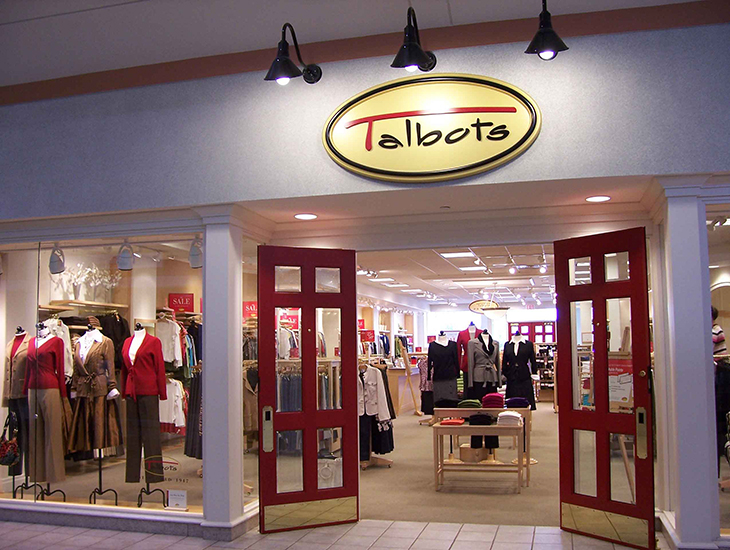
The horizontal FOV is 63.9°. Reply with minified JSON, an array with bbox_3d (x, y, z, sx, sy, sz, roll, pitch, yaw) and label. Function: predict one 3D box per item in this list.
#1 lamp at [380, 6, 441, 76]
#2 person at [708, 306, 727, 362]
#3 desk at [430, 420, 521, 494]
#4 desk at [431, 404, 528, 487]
[{"bbox_3d":[0.401,-2.050,5.070,0.305,0.734,0.649,-3,-5,12],"label":"lamp"},{"bbox_3d":[3.548,0.577,5.901,0.127,0.511,0.793,-4,-5,31],"label":"person"},{"bbox_3d":[1.443,2.291,7.538,1.103,0.731,0.613,-3,-12,11],"label":"desk"},{"bbox_3d":[1.460,2.208,7.638,1.182,0.964,0.927,-5,-12,18],"label":"desk"}]
